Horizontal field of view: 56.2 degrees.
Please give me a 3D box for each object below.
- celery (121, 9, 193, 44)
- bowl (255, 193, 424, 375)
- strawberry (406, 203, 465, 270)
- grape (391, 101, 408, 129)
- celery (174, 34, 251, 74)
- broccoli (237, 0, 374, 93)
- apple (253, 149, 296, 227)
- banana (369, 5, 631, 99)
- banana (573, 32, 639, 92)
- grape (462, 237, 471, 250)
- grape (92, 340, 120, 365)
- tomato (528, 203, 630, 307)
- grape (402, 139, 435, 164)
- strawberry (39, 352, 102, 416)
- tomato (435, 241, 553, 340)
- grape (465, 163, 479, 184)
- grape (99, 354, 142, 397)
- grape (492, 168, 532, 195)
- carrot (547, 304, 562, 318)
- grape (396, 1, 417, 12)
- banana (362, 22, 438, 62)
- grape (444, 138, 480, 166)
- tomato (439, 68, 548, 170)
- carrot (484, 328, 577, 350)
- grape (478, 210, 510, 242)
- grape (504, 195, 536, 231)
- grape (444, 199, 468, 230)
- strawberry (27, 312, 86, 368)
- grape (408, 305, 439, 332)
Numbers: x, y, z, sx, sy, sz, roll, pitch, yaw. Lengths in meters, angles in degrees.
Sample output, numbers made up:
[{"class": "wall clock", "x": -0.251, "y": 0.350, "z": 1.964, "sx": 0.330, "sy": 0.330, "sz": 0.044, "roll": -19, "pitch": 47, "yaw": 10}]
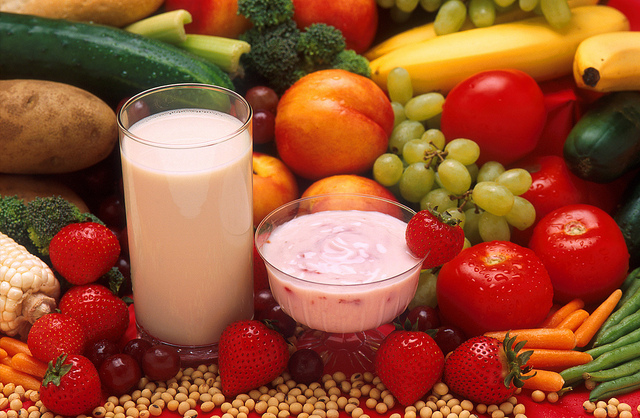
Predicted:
[{"class": "celery", "x": -0.595, "y": -0.658, "z": 2.189, "sx": 0.220, "sy": 0.084, "sz": 0.109, "roll": 8, "pitch": 44, "yaw": 11}, {"class": "bowl", "x": 0.090, "y": 0.261, "z": 1.808, "sx": 0.489, "sy": 0.392, "sz": 0.496, "roll": -2, "pitch": 28, "yaw": 1}, {"class": "strawberry", "x": 0.325, "y": 0.089, "z": 1.672, "sx": 0.153, "sy": 0.170, "sz": 0.141, "roll": 15, "pitch": 20, "yaw": -15}, {"class": "grape", "x": 0.273, "y": -0.333, "z": 2.074, "sx": 0.063, "sy": 0.078, "sz": 0.066, "roll": -3, "pitch": 3, "yaw": 8}, {"class": "celery", "x": -0.388, "y": -0.570, "z": 2.167, "sx": 0.230, "sy": 0.092, "sz": 0.138, "roll": 20, "pitch": 83, "yaw": 5}, {"class": "broccoli", "x": -0.044, "y": -0.571, "z": 2.131, "sx": 0.441, "sy": 0.164, "sz": 0.322, "roll": 4, "pitch": 77, "yaw": 9}, {"class": "apple", "x": -0.179, "y": -0.077, "z": 2.081, "sx": 0.193, "sy": 0.190, "sz": 0.200, "roll": -4, "pitch": 23, "yaw": -8}, {"class": "banana", "x": 0.644, "y": -0.531, "z": 2.051, "sx": 0.825, "sy": 0.206, "sz": 0.228, "roll": -10, "pitch": 80, "yaw": 0}, {"class": "banana", "x": 0.953, "y": -0.490, "z": 1.982, "sx": 0.237, "sy": 0.128, "sz": 0.178, "roll": -7, "pitch": 50, "yaw": -11}, {"class": "grape", "x": 0.466, "y": 0.111, "z": 1.903, "sx": 0.035, "sy": 0.038, "sz": 0.036, "roll": 0, "pitch": 17, "yaw": -5}, {"class": "grape", "x": -0.611, "y": 0.411, "z": 1.715, "sx": 0.055, "sy": 0.067, "sz": 0.058, "roll": 11, "pitch": 73, "yaw": 2}, {"class": "tomato", "x": 0.840, "y": 0.142, "z": 1.985, "sx": 0.291, "sy": 0.312, "sz": 0.309, "roll": -3, "pitch": 90, "yaw": -13}, {"class": "grape", "x": 0.319, "y": -0.182, "z": 1.973, "sx": 0.094, "sy": 0.074, "sz": 0.065, "roll": 15, "pitch": 49, "yaw": 8}, {"class": "strawberry", "x": -0.655, "y": 0.461, "z": 1.565, "sx": 0.138, "sy": 0.121, "sz": 0.117, "roll": -32, "pitch": 58, "yaw": -29}, {"class": "tomato", "x": 0.506, "y": 0.236, "z": 1.756, "sx": 0.296, "sy": 0.289, "sz": 0.289, "roll": -2, "pitch": 87, "yaw": 14}, {"class": "grape", "x": 0.512, "y": -0.126, "z": 2.001, "sx": 0.048, "sy": 0.060, "sz": 0.050, "roll": -2, "pitch": 3, "yaw": 8}, {"class": "grape", "x": -0.552, "y": 0.458, "z": 1.637, "sx": 0.069, "sy": 0.085, "sz": 0.071, "roll": -38, "pitch": 36, "yaw": -27}, {"class": "grape", "x": 0.607, "y": -0.086, "z": 1.889, "sx": 0.103, "sy": 0.063, "sz": 0.064, "roll": -10, "pitch": 1, "yaw": -39}, {"class": "carrot", "x": 0.739, "y": 0.322, "z": 1.882, "sx": 0.032, "sy": 0.026, "sz": 0.043, "roll": -4, "pitch": 4, "yaw": 3}, {"class": "grape", "x": 0.308, "y": -0.726, "z": 2.134, "sx": 0.040, "sy": 0.032, "sz": 0.042, "roll": -22, "pitch": 33, "yaw": -32}, {"class": "banana", "x": 0.296, "y": -0.608, "z": 2.181, "sx": 0.251, "sy": 0.061, "sz": 0.084, "roll": -28, "pitch": 34, "yaw": 13}, {"class": "grape", "x": 0.455, "y": -0.192, "z": 1.926, "sx": 0.098, "sy": 0.079, "sz": 0.077, "roll": 8, "pitch": 18, "yaw": 13}, {"class": "tomato", "x": 0.619, "y": -0.298, "z": 2.081, "sx": 0.305, "sy": 0.307, "sz": 0.369, "roll": -17, "pitch": 77, "yaw": 1}, {"class": "carrot", "x": 0.600, "y": 0.373, "z": 1.703, "sx": 0.284, "sy": 0.078, "sz": 0.083, "roll": 0, "pitch": 91, "yaw": 3}, {"class": "grape", "x": 0.554, "y": 0.061, "z": 1.905, "sx": 0.073, "sy": 0.105, "sz": 0.078, "roll": -10, "pitch": 20, "yaw": 25}, {"class": "grape", "x": 0.639, "y": 0.016, "z": 1.950, "sx": 0.076, "sy": 0.107, "sz": 0.079, "roll": 30, "pitch": 30, "yaw": 10}, {"class": "grape", "x": 0.405, "y": 0.015, "z": 1.803, "sx": 0.048, "sy": 0.038, "sz": 0.091, "roll": -2, "pitch": 36, "yaw": 51}, {"class": "strawberry", "x": -0.720, "y": 0.352, "z": 1.689, "sx": 0.145, "sy": 0.153, "sz": 0.152, "roll": -7, "pitch": 7, "yaw": -23}, {"class": "grape", "x": 0.310, "y": 0.323, "z": 1.771, "sx": 0.068, "sy": 0.074, "sz": 0.084, "roll": 6, "pitch": 60, "yaw": -32}]
